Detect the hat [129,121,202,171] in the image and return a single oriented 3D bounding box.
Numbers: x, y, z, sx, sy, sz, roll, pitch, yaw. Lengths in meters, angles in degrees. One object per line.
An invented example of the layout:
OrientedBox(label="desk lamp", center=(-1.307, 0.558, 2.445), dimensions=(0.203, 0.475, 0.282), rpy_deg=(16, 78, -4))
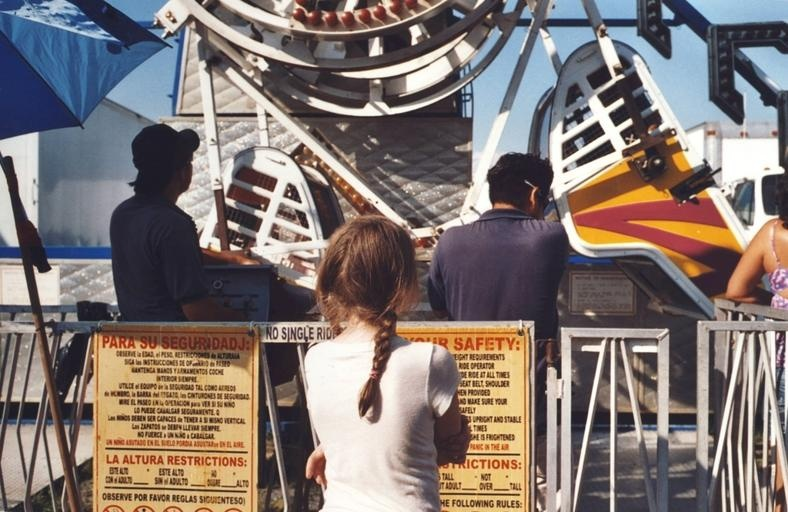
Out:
OrientedBox(label="hat", center=(-2.664, -1.242, 22.739), dimensions=(0.686, 0.373, 0.496), rpy_deg=(-32, 30, -24))

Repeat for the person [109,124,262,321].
OrientedBox(label="person", center=(-2.668, -0.375, 22.686), dimensions=(1.243, 2.219, 0.458), rpy_deg=(1, -6, -7))
